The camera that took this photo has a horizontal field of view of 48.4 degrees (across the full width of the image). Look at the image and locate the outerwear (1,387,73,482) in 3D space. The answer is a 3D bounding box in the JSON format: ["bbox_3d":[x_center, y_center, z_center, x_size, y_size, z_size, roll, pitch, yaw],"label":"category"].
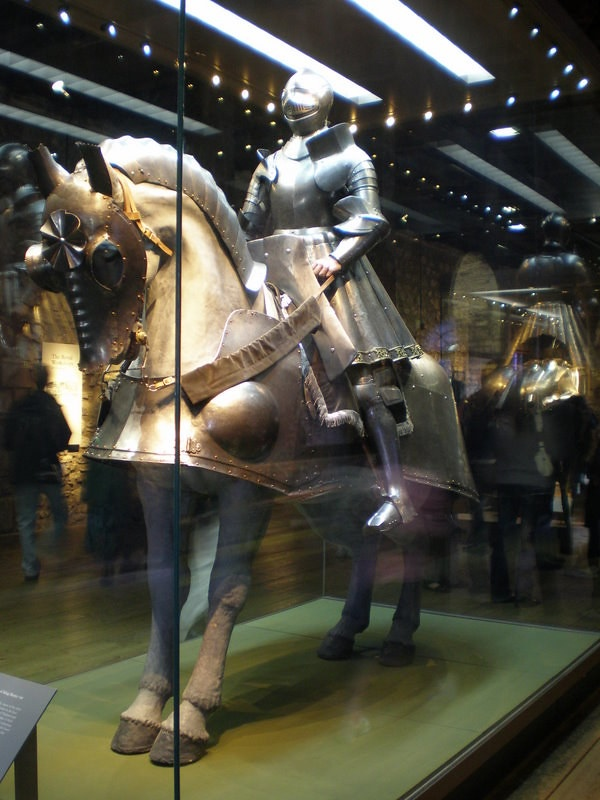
[{"bbox_3d":[-0.451,0.057,1.130,0.116,0.147,0.058,-5,2,20],"label":"outerwear"}]

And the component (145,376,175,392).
[{"bbox_3d":[-0.276,-0.031,1.333,0.088,0.022,0.024,-10,2,40],"label":"component"}]
